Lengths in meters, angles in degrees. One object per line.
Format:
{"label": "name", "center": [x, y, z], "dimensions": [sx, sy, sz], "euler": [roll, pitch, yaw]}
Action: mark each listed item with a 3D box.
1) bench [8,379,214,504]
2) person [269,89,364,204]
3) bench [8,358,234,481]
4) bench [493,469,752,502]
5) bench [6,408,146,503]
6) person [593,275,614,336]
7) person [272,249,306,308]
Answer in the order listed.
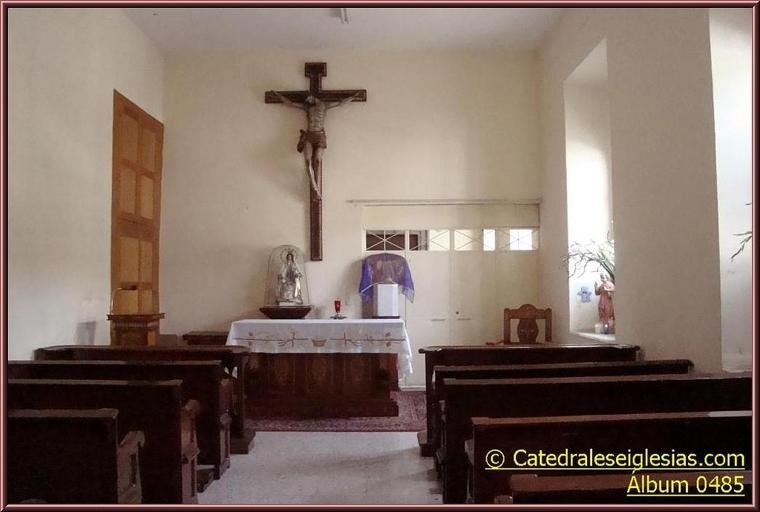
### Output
{"label": "bench", "center": [-1.969, 1.319, 4.626], "dimensions": [1.160, 0.740, 0.413], "euler": [0, 0, 11]}
{"label": "person", "center": [-0.937, -1.610, 9.448], "dimensions": [1.143, 1.526, 0.556], "euler": [-1, 8, -8]}
{"label": "bench", "center": [-1.990, 1.229, 4.904], "dimensions": [1.137, 0.538, 0.479], "euler": [0, 0, 0]}
{"label": "bench", "center": [1.504, 1.366, 3.835], "dimensions": [1.453, 0.192, 0.180], "euler": [0, 8, -4]}
{"label": "bench", "center": [-2.071, 1.306, 4.541], "dimensions": [1.093, 0.728, 0.578], "euler": [0, -1, -1]}
{"label": "person", "center": [2.740, 0.591, 7.895], "dimensions": [0.199, 0.717, 0.441], "euler": [2, 8, 8]}
{"label": "person", "center": [-1.256, 0.323, 9.179], "dimensions": [0.444, 0.789, 0.720], "euler": [-1, 8, -9]}
